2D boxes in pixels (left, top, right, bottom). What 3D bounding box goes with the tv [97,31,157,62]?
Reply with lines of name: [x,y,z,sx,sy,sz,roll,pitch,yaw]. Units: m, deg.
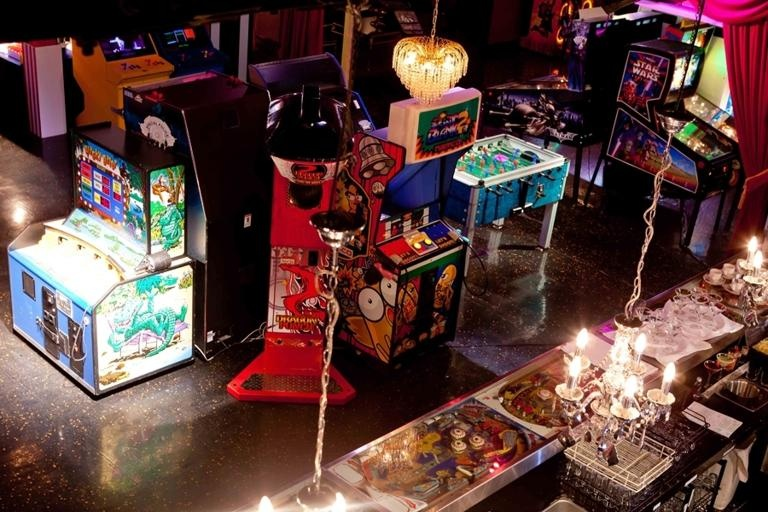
tv: [-3.680,-3.005,8.605,0.745,0.366,0.729,-13,33,-17]

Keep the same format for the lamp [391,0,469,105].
lamp: [0.396,-1.678,5.177,0.645,0.684,0.595,0,33,4]

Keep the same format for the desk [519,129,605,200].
desk: [2.486,-1.259,8.356,0.684,0.821,0.863,-25,49,-28]
